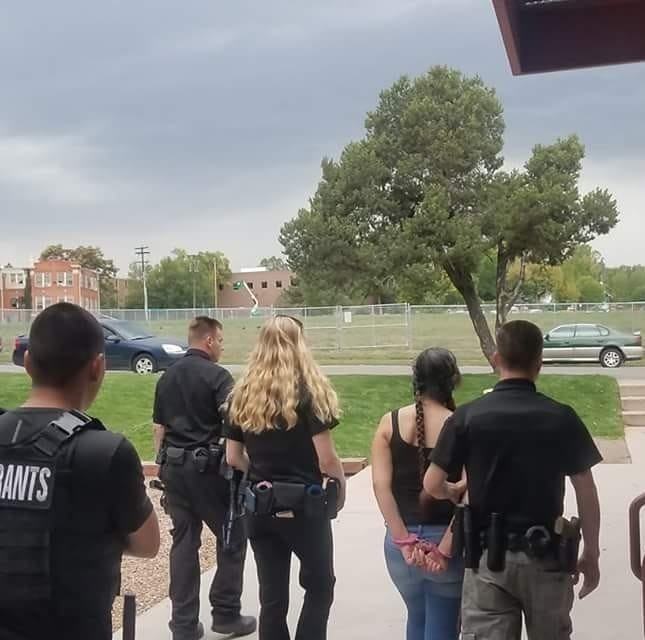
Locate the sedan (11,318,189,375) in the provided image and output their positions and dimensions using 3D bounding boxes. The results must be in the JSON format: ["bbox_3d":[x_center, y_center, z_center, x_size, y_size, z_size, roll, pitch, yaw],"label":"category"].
[{"bbox_3d":[-2.870,0.378,10.793,2.770,0.967,1.230,-3,1,-1],"label":"sedan"}]

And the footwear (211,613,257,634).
[{"bbox_3d":[-0.534,1.838,4.844,0.273,0.137,0.102,-2,10,-12],"label":"footwear"}]

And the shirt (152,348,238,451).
[{"bbox_3d":[-0.762,0.475,4.827,0.606,0.566,0.302,-2,2,23],"label":"shirt"}]

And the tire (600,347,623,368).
[{"bbox_3d":[8.414,1.065,22.989,0.492,0.520,0.180,-1,-15,6],"label":"tire"}]

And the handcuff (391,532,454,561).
[{"bbox_3d":[0.468,1.018,3.603,0.173,0.089,0.239,13,-1,19],"label":"handcuff"}]

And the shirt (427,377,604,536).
[{"bbox_3d":[0.813,0.593,3.384,0.691,0.631,0.278,0,-3,14],"label":"shirt"}]

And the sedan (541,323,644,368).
[{"bbox_3d":[7.833,0.773,23.052,2.328,0.838,1.115,3,1,15],"label":"sedan"}]

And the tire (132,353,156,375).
[{"bbox_3d":[-4.322,1.062,19.304,0.438,0.464,0.149,0,-11,1],"label":"tire"}]
